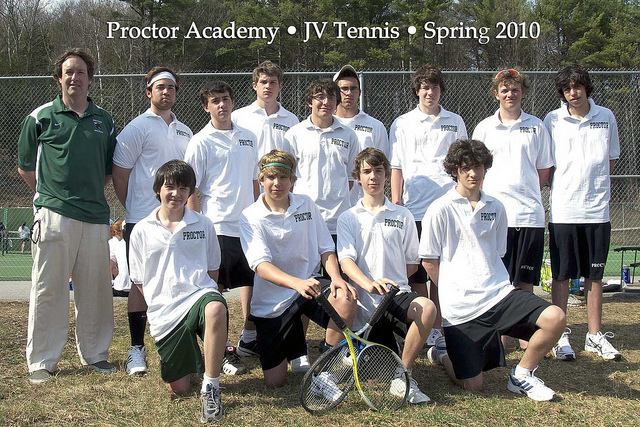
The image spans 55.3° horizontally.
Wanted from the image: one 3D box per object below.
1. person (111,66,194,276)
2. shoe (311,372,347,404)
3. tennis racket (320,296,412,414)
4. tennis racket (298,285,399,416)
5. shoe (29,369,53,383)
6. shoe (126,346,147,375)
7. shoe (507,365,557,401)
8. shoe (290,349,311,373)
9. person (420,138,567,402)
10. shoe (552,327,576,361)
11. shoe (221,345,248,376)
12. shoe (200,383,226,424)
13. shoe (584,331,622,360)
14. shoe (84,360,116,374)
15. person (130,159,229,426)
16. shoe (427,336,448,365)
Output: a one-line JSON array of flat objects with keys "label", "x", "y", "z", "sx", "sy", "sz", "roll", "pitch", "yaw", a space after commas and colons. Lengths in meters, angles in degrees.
[{"label": "person", "x": -1.964, "y": -0.215, "z": 7.280, "sx": 1.078, "sy": 3.032, "sz": 0.871, "roll": -1, "pitch": 6, "yaw": -27}, {"label": "shoe", "x": 0.052, "y": 1.731, "z": 6.084, "sx": 0.274, "sy": 0.333, "sz": 0.131, "roll": 11, "pitch": -40, "yaw": -19}, {"label": "tennis racket", "x": 0.460, "y": 1.458, "z": 6.226, "sx": 0.083, "sy": 0.460, "sz": 1.171, "roll": 5, "pitch": -34, "yaw": 42}, {"label": "tennis racket", "x": 0.431, "y": 1.355, "z": 6.102, "sx": 0.675, "sy": 1.657, "sz": 0.155, "roll": 5, "pitch": 28, "yaw": -48}, {"label": "shoe", "x": -3.061, "y": 1.795, "z": 6.709, "sx": 0.247, "sy": 0.111, "sz": 0.100, "roll": -5, "pitch": -12, "yaw": 32}, {"label": "shoe", "x": -2.088, "y": 1.663, "z": 6.939, "sx": 0.223, "sy": 0.232, "sz": 0.299, "roll": -4, "pitch": 13, "yaw": -19}, {"label": "shoe", "x": 2.215, "y": 1.775, "z": 6.468, "sx": 0.207, "sy": 0.331, "sz": 0.554, "roll": 8, "pitch": -2, "yaw": -38}, {"label": "shoe", "x": -0.232, "y": 1.647, "z": 6.830, "sx": 0.225, "sy": 0.248, "sz": 0.594, "roll": 1, "pitch": -12, "yaw": -5}, {"label": "person", "x": 1.804, "y": 0.571, "z": 6.563, "sx": 1.427, "sy": 2.599, "sz": 0.818, "roll": 6, "pitch": 14, "yaw": 24}, {"label": "shoe", "x": 2.937, "y": 1.527, "z": 7.410, "sx": 0.234, "sy": 0.318, "sz": 0.663, "roll": -6, "pitch": 10, "yaw": 15}, {"label": "shoe", "x": -0.976, "y": 1.668, "z": 7.013, "sx": 0.294, "sy": 0.265, "sz": 0.333, "roll": 0, "pitch": 12, "yaw": 0}, {"label": "shoe", "x": -1.078, "y": 1.881, "z": 6.109, "sx": 0.253, "sy": 0.328, "sz": 0.245, "roll": -3, "pitch": 13, "yaw": -11}, {"label": "shoe", "x": 3.367, "y": 1.567, "z": 7.317, "sx": 0.164, "sy": 0.255, "sz": 0.409, "roll": -8, "pitch": 14, "yaw": -31}, {"label": "shoe", "x": -2.492, "y": 1.733, "z": 6.952, "sx": 0.320, "sy": 0.088, "sz": 0.285, "roll": -6, "pitch": 14, "yaw": -27}, {"label": "person", "x": -1.406, "y": 0.740, "z": 6.361, "sx": 0.816, "sy": 2.439, "sz": 1.265, "roll": -8, "pitch": 15, "yaw": -31}, {"label": "shoe", "x": 1.371, "y": 1.621, "z": 7.275, "sx": 0.144, "sy": 0.295, "sz": 0.429, "roll": 2, "pitch": 8, "yaw": 1}]
